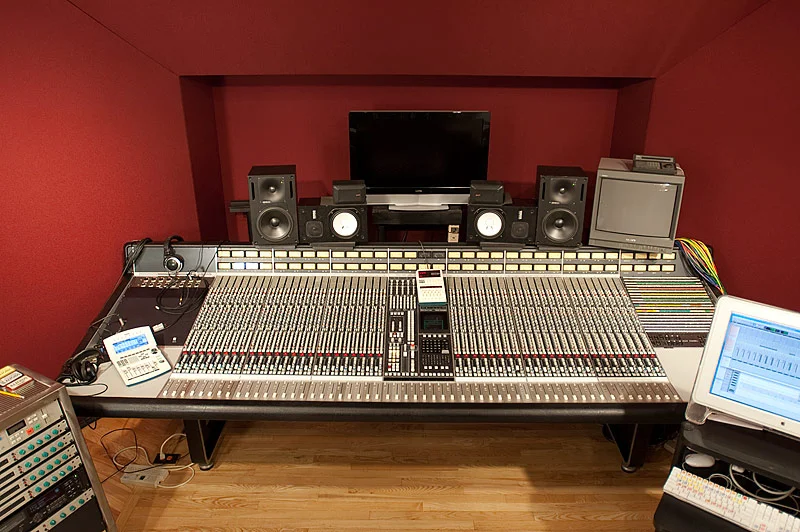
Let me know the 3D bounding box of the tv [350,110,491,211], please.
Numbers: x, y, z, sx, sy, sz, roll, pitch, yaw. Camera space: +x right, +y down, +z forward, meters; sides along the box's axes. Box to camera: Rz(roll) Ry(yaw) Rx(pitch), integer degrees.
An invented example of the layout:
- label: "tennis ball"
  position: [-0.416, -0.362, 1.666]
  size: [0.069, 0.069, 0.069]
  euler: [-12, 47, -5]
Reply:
- label: "tv"
  position: [0.161, -0.918, 4.560]
  size: [1.095, 0.661, 0.291]
  euler: [0, 28, 0]

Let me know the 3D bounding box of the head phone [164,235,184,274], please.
- label: "head phone"
  position: [-1.567, -0.067, 3.749]
  size: [0.148, 0.267, 0.242]
  euler: [-3, 6, -11]

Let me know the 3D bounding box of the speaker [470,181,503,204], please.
- label: "speaker"
  position: [0.588, -0.495, 3.679]
  size: [0.215, 0.123, 0.151]
  euler: [1, 32, 4]

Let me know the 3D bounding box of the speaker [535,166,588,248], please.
- label: "speaker"
  position: [1.081, -0.374, 3.664]
  size: [0.316, 0.492, 0.098]
  euler: [1, 17, 8]

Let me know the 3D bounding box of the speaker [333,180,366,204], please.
- label: "speaker"
  position: [-0.345, -0.489, 3.724]
  size: [0.223, 0.129, 0.155]
  euler: [0, 38, 0]

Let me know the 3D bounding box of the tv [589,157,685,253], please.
- label: "tv"
  position: [1.577, -0.420, 3.641]
  size: [0.533, 0.608, 0.215]
  euler: [5, 18, 19]

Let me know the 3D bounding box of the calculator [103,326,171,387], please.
- label: "calculator"
  position: [-1.593, 0.548, 3.270]
  size: [0.301, 0.135, 0.386]
  euler: [-23, 61, -29]

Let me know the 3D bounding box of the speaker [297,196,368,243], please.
- label: "speaker"
  position: [-0.465, -0.281, 3.693]
  size: [0.452, 0.273, 0.085]
  euler: [0, 17, 4]

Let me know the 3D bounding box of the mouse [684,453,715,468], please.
- label: "mouse"
  position: [1.681, 1.096, 3.046]
  size: [0.151, 0.036, 0.105]
  euler: [3, 27, 17]
